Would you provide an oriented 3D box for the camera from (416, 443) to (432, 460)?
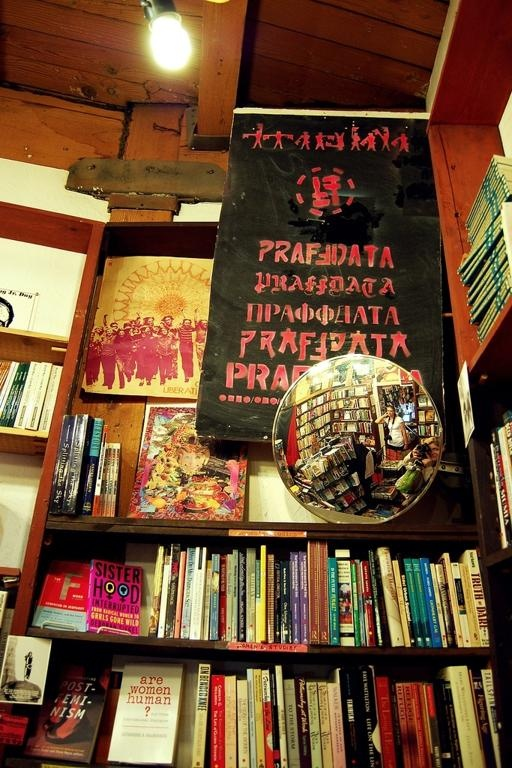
[{"bbox_3d":[0.438,0.173,1.439,0.029,0.043,0.041,8,-36,37],"label":"camera"}]
